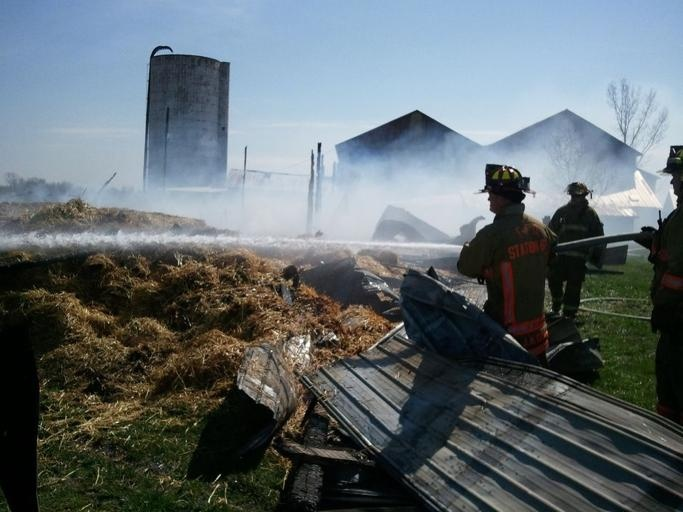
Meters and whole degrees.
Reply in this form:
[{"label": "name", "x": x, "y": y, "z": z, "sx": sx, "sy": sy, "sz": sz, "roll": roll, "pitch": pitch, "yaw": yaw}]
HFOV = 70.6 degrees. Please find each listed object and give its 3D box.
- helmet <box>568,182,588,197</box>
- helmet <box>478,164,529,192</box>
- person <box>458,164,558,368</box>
[{"label": "helmet", "x": 3.651, "y": -1.056, "z": 7.561, "sx": 0.214, "sy": 0.222, "sz": 0.318, "roll": 1, "pitch": 0, "yaw": 8}, {"label": "helmet", "x": 1.405, "y": -0.689, "z": 4.260, "sx": 0.342, "sy": 0.211, "sz": 0.274, "roll": 13, "pitch": 13, "yaw": 35}, {"label": "person", "x": 1.418, "y": 0.077, "z": 4.182, "sx": 0.903, "sy": 1.693, "sz": 0.488, "roll": 3, "pitch": 7, "yaw": 0}]
